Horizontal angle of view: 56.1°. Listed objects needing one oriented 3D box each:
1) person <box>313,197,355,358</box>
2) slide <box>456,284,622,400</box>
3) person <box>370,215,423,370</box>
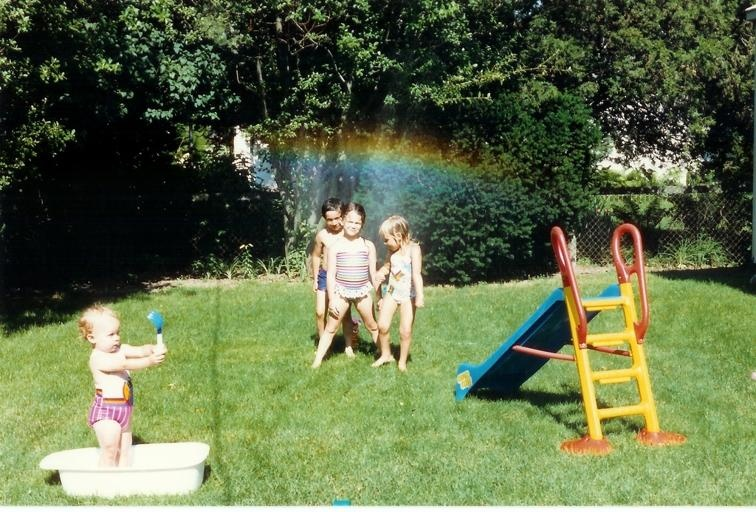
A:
[{"bbox_3d":[-0.412,0.360,8.906,0.664,2.103,0.613,2,19,-7],"label":"person"},{"bbox_3d":[1.565,1.083,7.801,1.886,0.521,1.027,-44,-38,21],"label":"slide"},{"bbox_3d":[0.245,0.472,8.588,0.577,1.902,0.384,0,8,1],"label":"person"}]
